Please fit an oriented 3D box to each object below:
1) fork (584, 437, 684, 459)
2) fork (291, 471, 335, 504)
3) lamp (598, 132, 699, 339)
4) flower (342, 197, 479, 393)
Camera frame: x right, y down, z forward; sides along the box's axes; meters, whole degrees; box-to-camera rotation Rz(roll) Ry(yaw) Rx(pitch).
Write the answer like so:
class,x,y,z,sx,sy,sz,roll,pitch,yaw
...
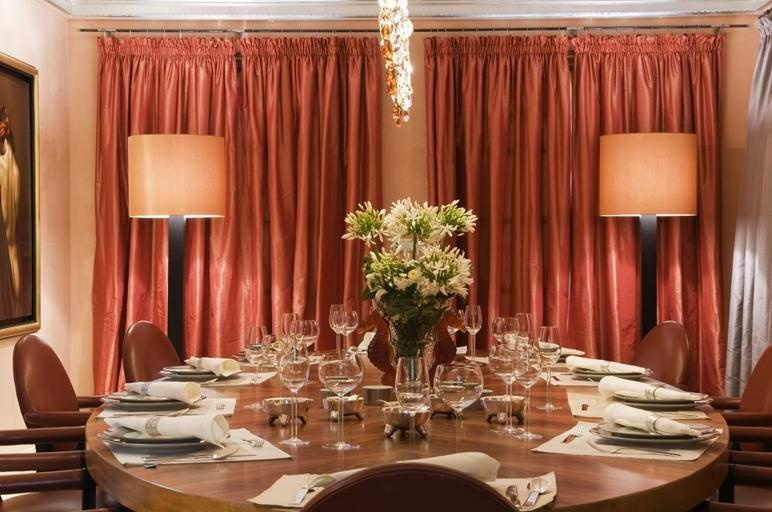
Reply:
class,x,y,z,sx,sy,sz,roll,pitch,yaw
fork,0.917,0.698,2.399,0.204,0.033,0.026,5,22,15
fork,-0.227,0.724,2.081,0.058,0.044,0.203,15,5,17
lamp,2.139,0.005,5.362,0.723,2.189,0.644,11,28,39
flower,0.122,0.206,3.117,0.772,1.021,0.747,2,-11,0
